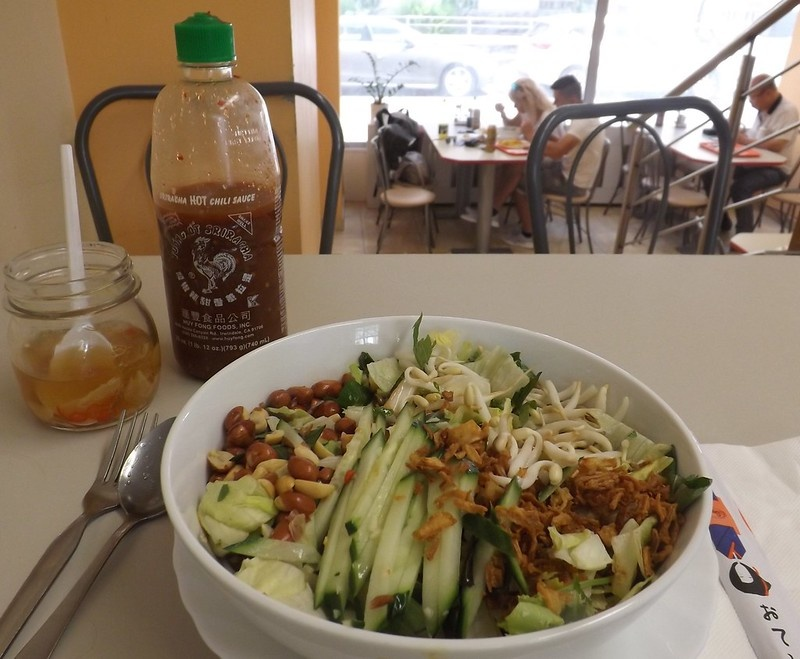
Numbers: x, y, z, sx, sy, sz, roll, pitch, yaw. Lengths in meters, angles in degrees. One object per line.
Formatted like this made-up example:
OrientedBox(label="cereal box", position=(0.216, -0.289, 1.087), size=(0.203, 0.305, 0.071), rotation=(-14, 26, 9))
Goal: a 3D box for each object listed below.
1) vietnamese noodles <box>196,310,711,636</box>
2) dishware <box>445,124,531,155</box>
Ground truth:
OrientedBox(label="vietnamese noodles", position=(0.042, 0.140, 0.576), size=(0.249, 0.109, 0.266), rotation=(5, 21, 5))
OrientedBox(label="dishware", position=(0.639, -1.406, 4.451), size=(0.570, 0.162, 0.839), rotation=(6, 27, 5))
